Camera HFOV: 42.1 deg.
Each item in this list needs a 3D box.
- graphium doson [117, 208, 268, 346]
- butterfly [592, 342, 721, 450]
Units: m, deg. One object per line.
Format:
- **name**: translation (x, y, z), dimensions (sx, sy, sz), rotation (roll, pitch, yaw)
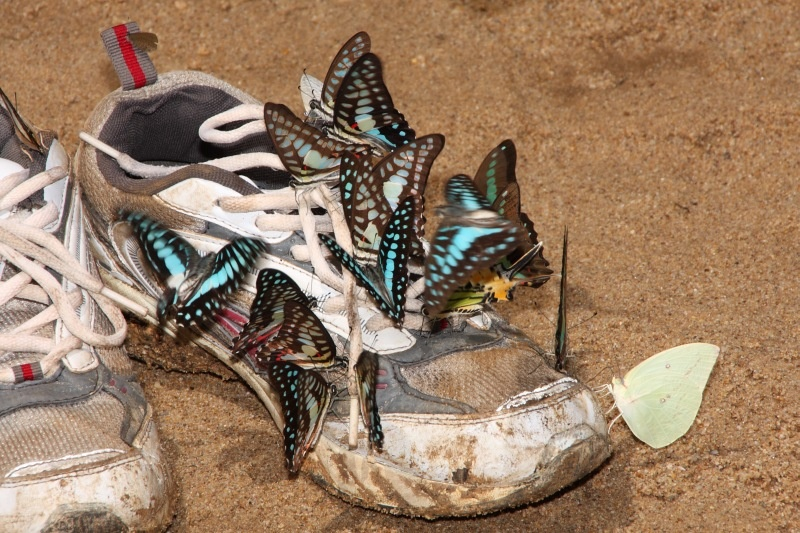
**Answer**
- **graphium doson**: translation (-0.489, 0.035, 2.524), dimensions (0.342, 0.186, 0.238), rotation (11, 82, 16)
- **butterfly**: translation (0.657, 0.307, 2.620), dimensions (0.269, 0.279, 0.179), rotation (5, 57, 10)
